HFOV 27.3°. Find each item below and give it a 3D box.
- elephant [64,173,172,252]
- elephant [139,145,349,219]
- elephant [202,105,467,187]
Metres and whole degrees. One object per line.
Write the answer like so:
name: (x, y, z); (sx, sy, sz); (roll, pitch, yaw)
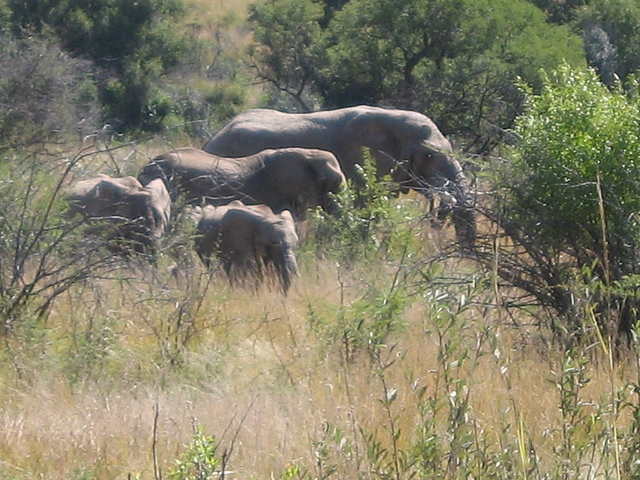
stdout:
elephant: (-3.017, -0.474, 20.355); (1.554, 1.147, 0.608); (1, -8, 16)
elephant: (-1.253, -0.658, 21.484); (2.867, 1.716, 1.436); (-2, 14, -5)
elephant: (0.372, -1.236, 22.839); (3.963, 2.245, 1.836); (0, 16, -4)
